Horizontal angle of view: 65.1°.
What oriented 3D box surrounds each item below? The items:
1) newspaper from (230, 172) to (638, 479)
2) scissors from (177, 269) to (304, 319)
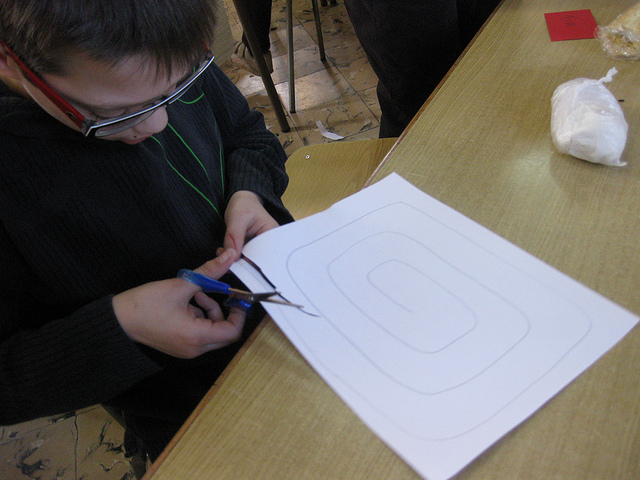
[{"bbox_3d":[0.137,0.068,0.693,0.373,0.080,0.481,-42,59,-12],"label":"newspaper"},{"bbox_3d":[-0.115,0.078,0.724,0.122,0.072,0.017,12,51,13],"label":"scissors"}]
